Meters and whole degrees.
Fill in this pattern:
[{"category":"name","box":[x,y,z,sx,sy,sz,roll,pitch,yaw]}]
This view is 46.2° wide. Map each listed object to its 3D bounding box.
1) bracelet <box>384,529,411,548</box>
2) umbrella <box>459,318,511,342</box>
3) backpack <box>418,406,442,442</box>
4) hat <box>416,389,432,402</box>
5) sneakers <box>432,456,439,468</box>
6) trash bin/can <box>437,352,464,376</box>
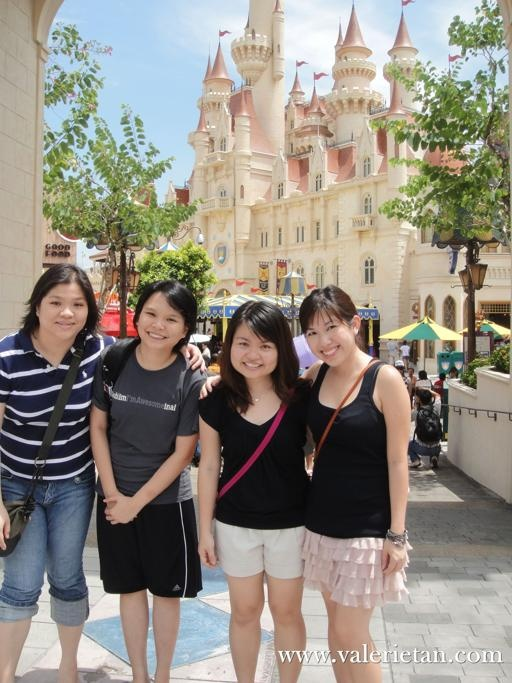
[{"category":"bracelet","box":[0.532,0.758,2.309,0.062,0.040,0.069,12,-8,-40]},{"category":"umbrella","box":[8.083,-0.378,21.326,1.323,0.625,1.341,0,-2,28]},{"category":"backpack","box":[2.909,1.443,10.219,0.409,0.633,0.502,1,-3,14]},{"category":"hat","box":[2.952,0.975,10.617,0.177,0.218,0.227,-5,-4,9]},{"category":"sneakers","box":[2.931,2.008,9.900,0.112,0.199,0.165,1,-3,14]},{"category":"trash bin/can","box":[6.120,0.729,18.899,0.760,0.699,0.302,1,-3,-22]}]
